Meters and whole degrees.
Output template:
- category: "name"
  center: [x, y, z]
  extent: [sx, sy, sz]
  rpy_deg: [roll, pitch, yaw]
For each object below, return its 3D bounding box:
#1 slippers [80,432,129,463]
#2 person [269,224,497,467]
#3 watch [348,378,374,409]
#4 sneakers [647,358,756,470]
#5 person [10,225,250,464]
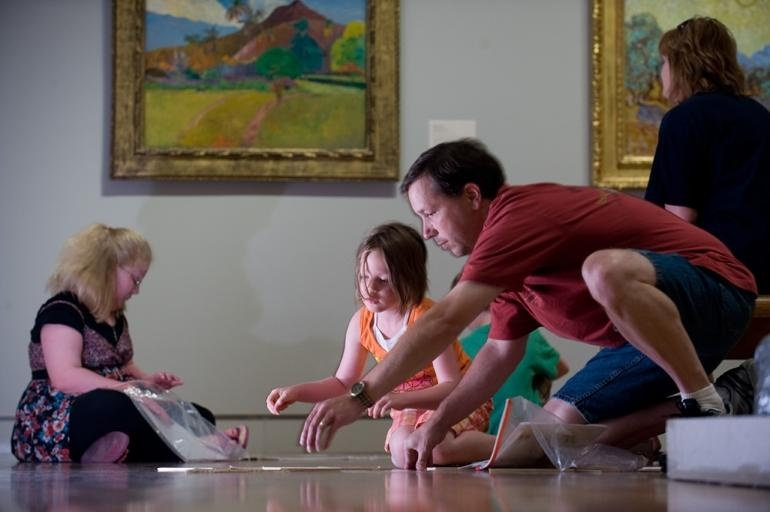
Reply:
- category: "slippers"
  center: [-1.050, 0.720, 2.644]
  extent: [0.191, 0.120, 0.046]
  rpy_deg: [-1, 0, 17]
- category: "person"
  center: [0.071, 0.386, 2.678]
  extent: [1.041, 0.919, 0.571]
  rpy_deg: [5, -7, -9]
- category: "watch"
  center: [-0.061, 0.383, 1.931]
  extent: [0.074, 0.053, 0.082]
  rpy_deg: [46, -10, -17]
- category: "sneakers"
  center: [0.828, 0.416, 1.853]
  extent: [0.136, 0.407, 0.176]
  rpy_deg: [17, -31, 47]
- category: "person"
  center: [-1.100, 0.389, 2.974]
  extent: [0.798, 0.982, 1.034]
  rpy_deg: [4, -7, -1]
